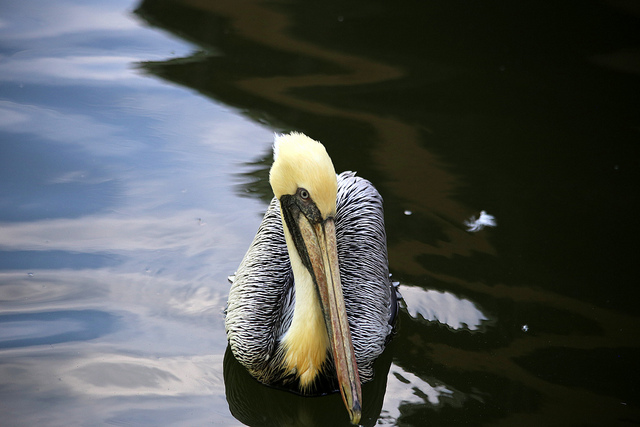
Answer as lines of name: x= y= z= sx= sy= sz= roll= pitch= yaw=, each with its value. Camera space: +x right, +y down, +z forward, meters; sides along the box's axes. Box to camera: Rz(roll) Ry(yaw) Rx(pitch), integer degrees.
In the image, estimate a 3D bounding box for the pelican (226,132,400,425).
pelican: x=-0.092 y=0.102 z=7.642 sx=1.591 sy=2.157 sz=3.090 roll=-1 pitch=56 yaw=2
